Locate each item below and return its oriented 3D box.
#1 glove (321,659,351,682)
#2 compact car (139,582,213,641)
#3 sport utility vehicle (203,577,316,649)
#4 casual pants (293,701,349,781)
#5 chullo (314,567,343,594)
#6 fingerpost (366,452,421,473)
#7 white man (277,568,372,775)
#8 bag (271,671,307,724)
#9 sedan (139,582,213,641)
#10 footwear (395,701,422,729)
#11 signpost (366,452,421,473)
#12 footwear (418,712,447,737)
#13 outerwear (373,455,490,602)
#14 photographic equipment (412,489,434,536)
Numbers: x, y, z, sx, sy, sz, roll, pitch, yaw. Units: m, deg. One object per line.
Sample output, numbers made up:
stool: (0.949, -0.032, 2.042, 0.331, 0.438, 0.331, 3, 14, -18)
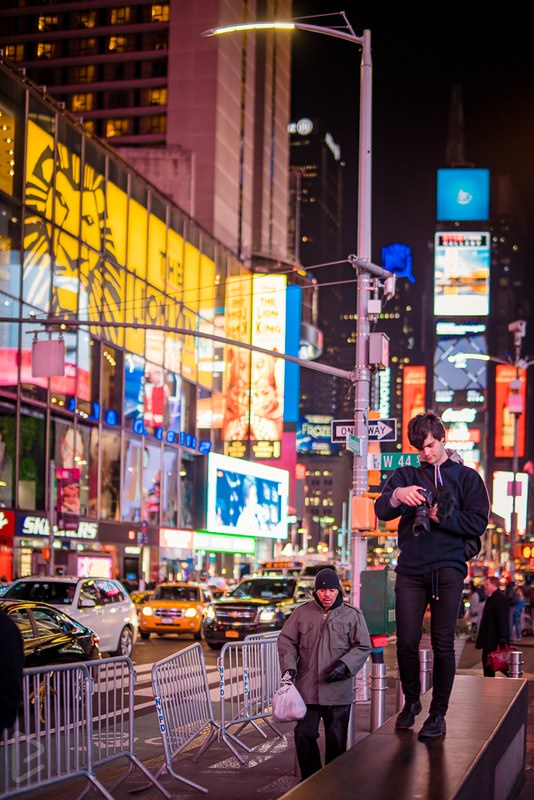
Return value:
glove: (0.458, 1.783, 7.792, 0.153, 0.075, 0.154, -34, 31, 5)
compact car: (-2.210, 4.899, 28.091, 0.999, 0.907, 1.993, 0, -12, 5)
sport utility vehicle: (-0.341, 4.434, 25.263, 1.964, 1.679, 4.470, -3, -9, 18)
casual pants: (0.374, 2.324, 8.099, 0.380, 0.536, 0.276, 1, -3, 1)
chullo: (0.409, 1.235, 8.167, 0.152, 0.161, 0.181, -1, -2, 4)
fingerpost: (1.825, 0.870, 17.276, 0.647, 0.173, 0.719, -1, 0, 18)
white man: (0.380, 1.905, 8.110, 0.582, 1.429, 0.449, 1, 8, 1)
bag: (0.140, 1.956, 7.766, 0.226, 0.317, 0.215, 0, -4, 17)
sedan: (-2.176, 4.992, 28.468, 0.999, 0.907, 1.993, 0, -12, 5)
footwear: (0.853, 1.898, 7.167, 0.077, 0.102, 0.239, -4, 4, 21)
signpost: (1.816, 0.875, 17.292, 0.647, 0.173, 0.719, -1, 0, 18)
footwear: (0.938, 1.854, 6.738, 0.155, 0.122, 0.270, 1, -4, 8)
outerwear: (0.972, 0.671, 6.976, 0.617, 0.834, 0.421, 5, -25, 1)
photographic equipment: (0.879, 0.630, 6.686, 0.141, 0.239, 0.103, -9, -26, 27)
